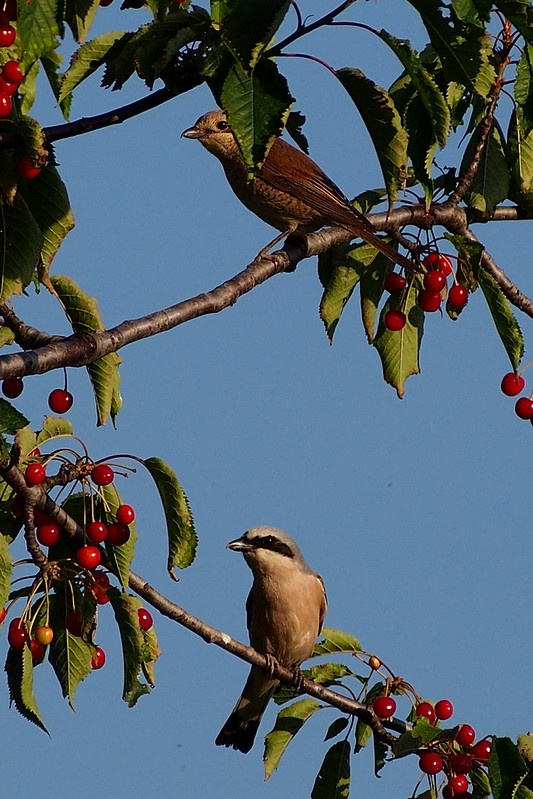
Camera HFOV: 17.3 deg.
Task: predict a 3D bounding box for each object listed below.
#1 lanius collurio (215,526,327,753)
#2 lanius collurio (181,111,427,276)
[{"bbox_3d":[0.046,1.271,9.488,0.478,1.790,0.740,8,26,4],"label":"lanius collurio"},{"bbox_3d":[0.178,-1.213,10.114,1.275,0.869,0.424,1,-2,-15],"label":"lanius collurio"}]
